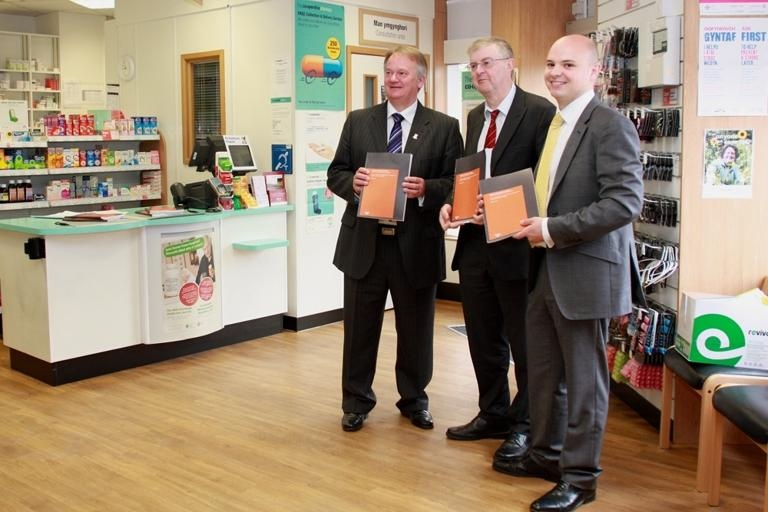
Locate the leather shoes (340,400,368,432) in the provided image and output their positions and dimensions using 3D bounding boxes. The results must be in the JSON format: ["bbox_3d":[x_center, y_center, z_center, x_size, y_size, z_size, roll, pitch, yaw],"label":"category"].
[{"bbox_3d":[-0.218,1.188,3.979,0.101,0.108,0.250,6,-3,12],"label":"leather shoes"}]

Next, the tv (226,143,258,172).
[{"bbox_3d":[-1.527,-1.027,5.800,0.262,0.294,0.187,-7,13,-28],"label":"tv"}]

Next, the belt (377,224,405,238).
[{"bbox_3d":[0.042,-0.170,3.726,0.154,0.089,0.041,1,12,9],"label":"belt"}]

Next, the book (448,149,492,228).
[{"bbox_3d":[0.512,-0.410,3.365,0.097,0.387,0.360,9,-8,-34],"label":"book"}]

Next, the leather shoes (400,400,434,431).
[{"bbox_3d":[0.235,1.157,4.021,0.116,0.139,0.340,-4,5,-32],"label":"leather shoes"}]

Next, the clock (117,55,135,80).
[{"bbox_3d":[-3.438,-2.498,7.284,0.296,0.347,0.047,17,9,32],"label":"clock"}]

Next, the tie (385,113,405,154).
[{"bbox_3d":[0.073,-0.838,3.740,0.120,0.254,0.048,-1,11,0],"label":"tie"}]

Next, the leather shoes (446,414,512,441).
[{"bbox_3d":[0.666,1.204,3.884,0.457,0.199,0.173,1,1,1],"label":"leather shoes"}]
